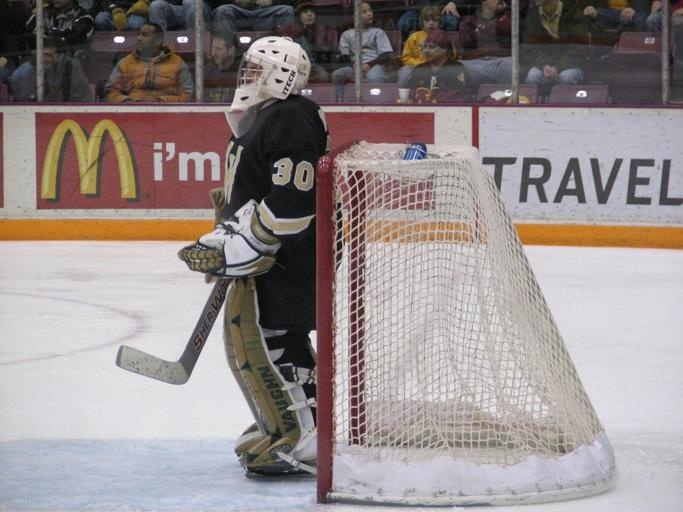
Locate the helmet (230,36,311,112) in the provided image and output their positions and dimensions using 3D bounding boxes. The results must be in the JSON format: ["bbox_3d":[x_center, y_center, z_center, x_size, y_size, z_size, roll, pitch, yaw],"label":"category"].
[{"bbox_3d":[-0.321,-0.946,5.847,0.453,0.366,0.326,3,10,1],"label":"helmet"}]

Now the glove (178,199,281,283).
[{"bbox_3d":[-0.518,-0.054,5.715,0.496,0.214,0.319,-13,49,5],"label":"glove"}]

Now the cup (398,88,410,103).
[{"bbox_3d":[0.573,-1.509,10.746,0.143,0.134,0.133,4,10,-1],"label":"cup"}]

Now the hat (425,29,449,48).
[{"bbox_3d":[0.896,-2.032,10.709,0.220,0.155,0.154,18,5,1],"label":"hat"}]

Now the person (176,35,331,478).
[{"bbox_3d":[-0.429,-0.001,5.844,0.728,2.196,0.604,-1,13,3],"label":"person"}]
